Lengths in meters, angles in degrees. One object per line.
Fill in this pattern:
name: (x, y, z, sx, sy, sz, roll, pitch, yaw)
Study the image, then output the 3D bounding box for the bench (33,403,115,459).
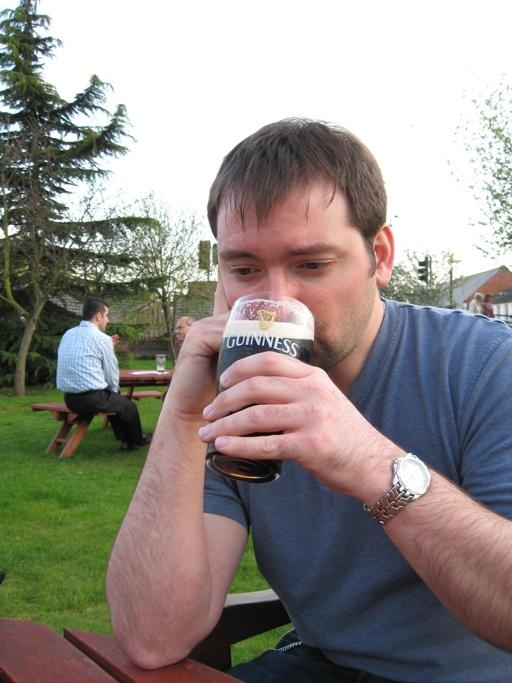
bench: (-2.364, 1.167, 7.785, 1.299, 0.585, 0.719, 5, 4, 32)

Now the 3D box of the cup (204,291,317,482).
cup: (0.006, 0.097, 1.190, 0.204, 0.391, 0.241, 1, 2, 6)
